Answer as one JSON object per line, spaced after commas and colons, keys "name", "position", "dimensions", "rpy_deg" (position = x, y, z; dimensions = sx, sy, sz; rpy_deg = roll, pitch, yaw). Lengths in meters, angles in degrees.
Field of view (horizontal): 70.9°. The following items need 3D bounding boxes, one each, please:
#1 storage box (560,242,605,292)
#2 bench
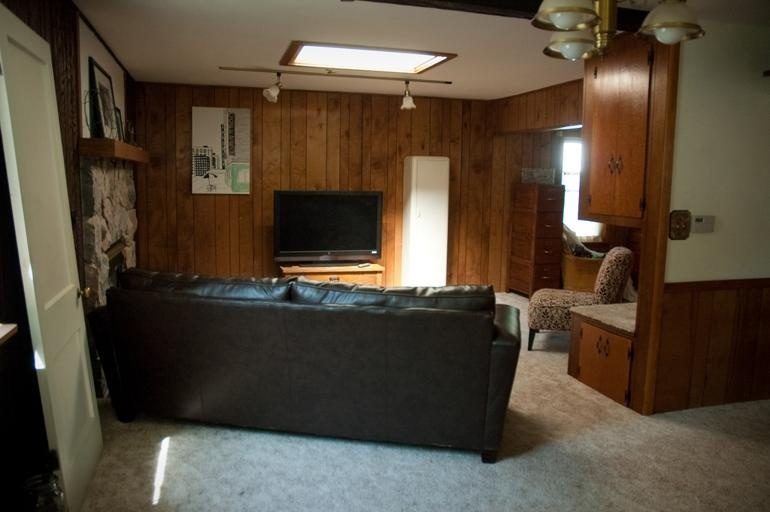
{"name": "storage box", "position": [2.685, 0.206, 7.401], "dimensions": [0.494, 0.472, 0.499], "rpy_deg": [2, 8, 8]}
{"name": "bench", "position": [1.819, 0.810, 4.491], "dimensions": [0.196, 0.689, 0.665], "rpy_deg": [-2, 7, -23]}
